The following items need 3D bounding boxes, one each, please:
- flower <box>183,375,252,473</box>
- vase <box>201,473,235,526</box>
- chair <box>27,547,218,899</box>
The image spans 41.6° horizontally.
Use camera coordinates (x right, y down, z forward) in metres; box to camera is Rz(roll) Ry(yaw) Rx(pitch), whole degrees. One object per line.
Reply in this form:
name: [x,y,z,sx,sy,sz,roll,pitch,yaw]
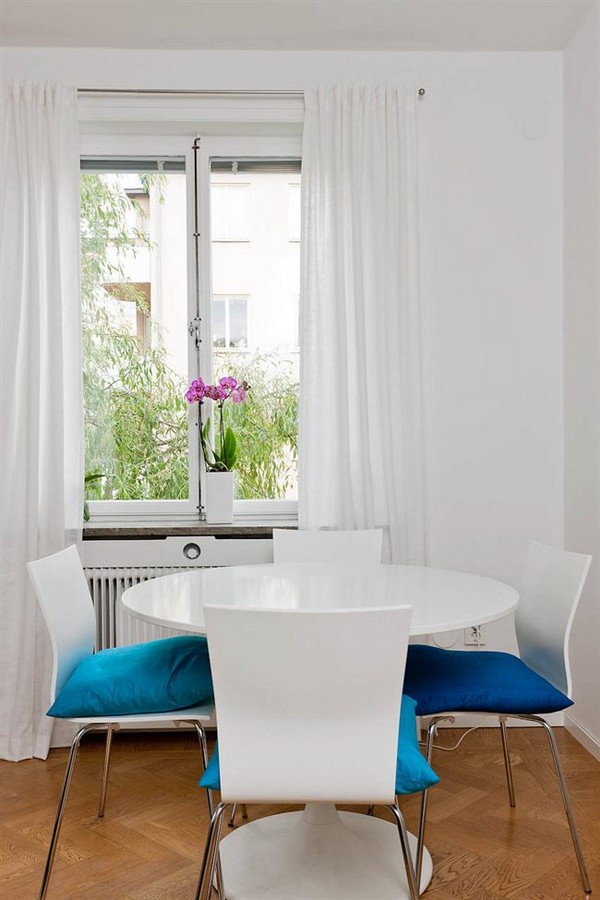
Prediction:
flower: [-0.297,-0.094,2.947,0.232,0.362,0.301,-1,7,-4]
vase: [-0.292,0.178,2.882,0.141,0.286,0.157,0,-1,-5]
chair: [-0.367,0.654,2.228,0.601,1.055,0.615,-2,-2,-3]
